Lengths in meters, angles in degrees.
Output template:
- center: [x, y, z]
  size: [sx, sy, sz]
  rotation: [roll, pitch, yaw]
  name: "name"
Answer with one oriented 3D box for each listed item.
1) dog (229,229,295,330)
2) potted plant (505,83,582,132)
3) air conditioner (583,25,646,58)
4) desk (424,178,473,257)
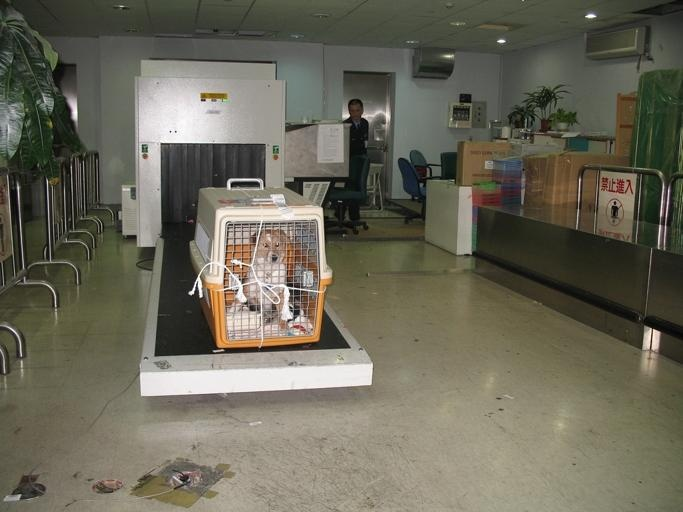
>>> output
- center: [-0.412, 0.128, 2.538]
  size: [0.297, 0.537, 0.198]
  rotation: [-3, 13, -6]
  name: "dog"
- center: [4.091, -2.931, 9.770]
  size: [0.853, 0.824, 1.234]
  rotation: [-12, 26, -21]
  name: "potted plant"
- center: [4.620, -3.592, 8.264]
  size: [0.208, 0.485, 1.183]
  rotation: [-18, 21, -8]
  name: "air conditioner"
- center: [1.382, -0.482, 6.189]
  size: [0.448, 0.783, 0.890]
  rotation: [-2, 13, -10]
  name: "desk"
